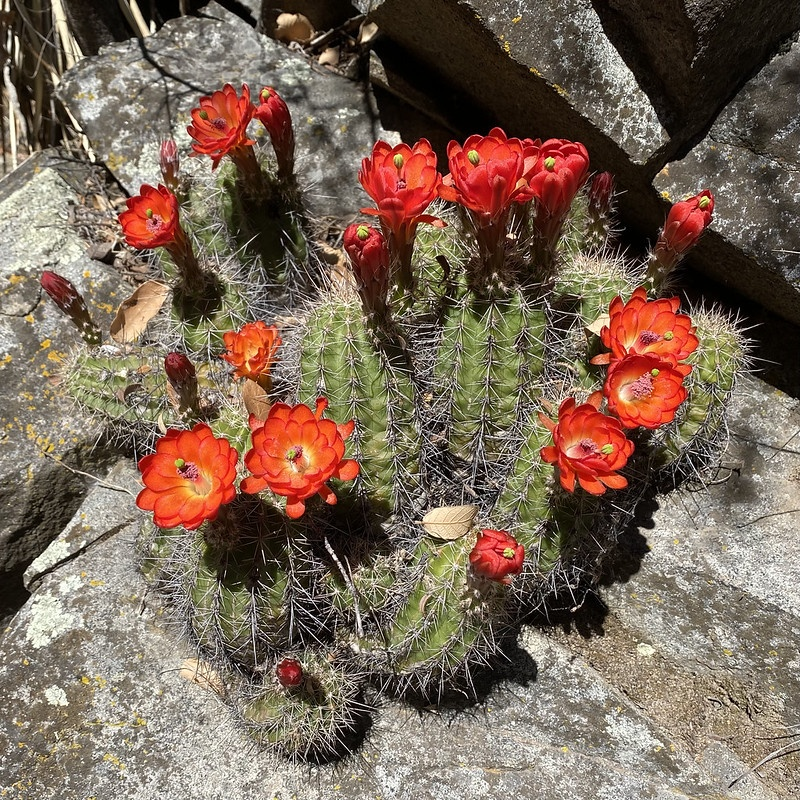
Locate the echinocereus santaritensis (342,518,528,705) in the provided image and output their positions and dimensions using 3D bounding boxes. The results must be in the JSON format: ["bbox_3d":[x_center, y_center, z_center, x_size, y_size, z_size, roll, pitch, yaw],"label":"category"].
[{"bbox_3d":[0.067,0.711,2.857,0.803,0.688,0.346,-20,100,5],"label":"echinocereus santaritensis"}]

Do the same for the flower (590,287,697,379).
[{"bbox_3d":[0.789,-0.176,2.640,0.116,0.276,0.267,-37,107,-10],"label":"flower"}]

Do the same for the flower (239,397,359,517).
[{"bbox_3d":[-0.281,0.157,2.337,0.317,0.127,0.348,26,72,6],"label":"flower"}]

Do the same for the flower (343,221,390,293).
[{"bbox_3d":[-0.100,-0.431,2.489,0.136,0.241,0.189,1,70,-1],"label":"flower"}]

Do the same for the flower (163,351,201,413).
[{"bbox_3d":[-0.717,-0.065,2.719,0.076,0.270,0.095,-15,35,-11],"label":"flower"}]

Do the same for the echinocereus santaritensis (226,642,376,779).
[{"bbox_3d":[-0.320,1.068,2.912,0.440,0.448,0.307,-36,89,32],"label":"echinocereus santaritensis"}]

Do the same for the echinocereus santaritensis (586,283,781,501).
[{"bbox_3d":[0.903,-0.045,2.795,0.617,0.352,0.724,7,85,-2],"label":"echinocereus santaritensis"}]

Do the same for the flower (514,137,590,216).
[{"bbox_3d":[0.497,-0.725,2.593,0.204,0.227,0.275,-4,115,-8],"label":"flower"}]

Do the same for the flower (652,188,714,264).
[{"bbox_3d":[0.962,-0.577,2.741,0.156,0.255,0.117,-31,73,-12],"label":"flower"}]

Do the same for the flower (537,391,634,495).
[{"bbox_3d":[0.550,0.154,2.431,0.283,0.112,0.244,18,67,-3],"label":"flower"}]

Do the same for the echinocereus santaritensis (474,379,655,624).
[{"bbox_3d":[0.529,0.325,2.708,0.368,0.580,0.590,25,69,13],"label":"echinocereus santaritensis"}]

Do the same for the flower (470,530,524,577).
[{"bbox_3d":[0.275,0.437,2.434,0.142,0.124,0.159,1,102,-24],"label":"flower"}]

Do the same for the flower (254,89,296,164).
[{"bbox_3d":[-0.463,-1.007,2.945,0.121,0.313,0.190,-13,71,-6],"label":"flower"}]

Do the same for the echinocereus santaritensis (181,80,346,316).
[{"bbox_3d":[-0.556,-0.763,3.225,0.467,0.956,0.530,22,64,21],"label":"echinocereus santaritensis"}]

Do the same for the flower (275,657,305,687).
[{"bbox_3d":[-0.369,0.875,2.644,0.087,0.052,0.106,-5,77,-2],"label":"flower"}]

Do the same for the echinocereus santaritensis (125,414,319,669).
[{"bbox_3d":[-0.548,0.472,2.588,0.450,0.725,0.490,9,40,15],"label":"echinocereus santaritensis"}]

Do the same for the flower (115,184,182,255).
[{"bbox_3d":[-0.858,-0.635,2.763,0.198,0.096,0.220,-25,82,0],"label":"flower"}]
